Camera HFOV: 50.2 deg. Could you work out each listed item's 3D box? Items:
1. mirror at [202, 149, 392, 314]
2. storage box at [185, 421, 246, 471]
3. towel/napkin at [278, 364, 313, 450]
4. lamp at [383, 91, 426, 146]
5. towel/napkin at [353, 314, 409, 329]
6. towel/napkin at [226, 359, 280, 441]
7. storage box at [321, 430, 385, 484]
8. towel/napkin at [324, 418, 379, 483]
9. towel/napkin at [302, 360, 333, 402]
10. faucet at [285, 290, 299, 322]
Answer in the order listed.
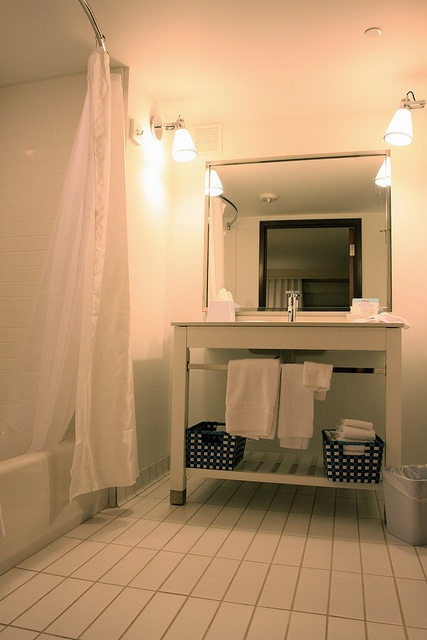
[{"bbox_3d":[0.495,-0.473,2.472,0.754,0.798,0.033,0,-4,13],"label":"mirror"},{"bbox_3d":[0.014,0.558,2.049,0.145,0.121,0.253,-1,-7,10],"label":"storage box"},{"bbox_3d":[0.330,0.343,1.828,0.151,0.330,0.076,-1,-7,11],"label":"towel/napkin"},{"bbox_3d":[0.921,-0.953,2.197,0.165,0.256,0.400,1,2,24],"label":"lamp"},{"bbox_3d":[0.707,-0.008,1.966,0.216,0.042,0.485,1,2,20],"label":"towel/napkin"},{"bbox_3d":[0.159,0.317,1.859,0.202,0.342,0.099,0,-13,21],"label":"towel/napkin"},{"bbox_3d":[0.550,0.543,1.821,0.154,0.130,0.174,1,-11,7],"label":"storage box"},{"bbox_3d":[0.559,0.522,1.842,0.154,0.150,0.255,-1,-4,12],"label":"towel/napkin"},{"bbox_3d":[0.417,0.246,1.811,0.120,0.147,0.048,6,-6,34],"label":"towel/napkin"},{"bbox_3d":[0.412,-0.078,2.357,0.070,0.162,0.216,0,2,9],"label":"faucet"}]
